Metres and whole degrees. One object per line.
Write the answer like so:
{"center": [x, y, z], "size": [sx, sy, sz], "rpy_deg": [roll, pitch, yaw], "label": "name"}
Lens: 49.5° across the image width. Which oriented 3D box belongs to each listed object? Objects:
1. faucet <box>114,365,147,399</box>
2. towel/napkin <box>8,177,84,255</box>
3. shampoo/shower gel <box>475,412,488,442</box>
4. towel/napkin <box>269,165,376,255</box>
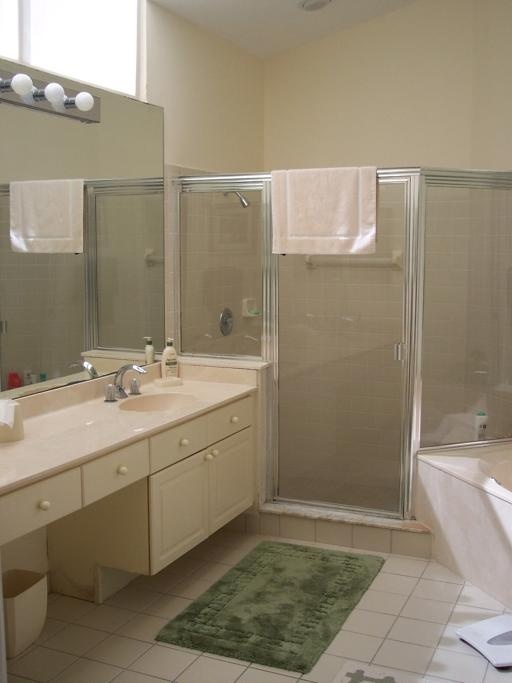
{"center": [-0.560, 0.170, 2.404], "size": [0.180, 0.163, 0.136], "rpy_deg": [-3, -1, 30], "label": "faucet"}
{"center": [-0.782, -0.463, 2.025], "size": [0.026, 0.290, 0.337], "rpy_deg": [4, 7, 20], "label": "towel/napkin"}
{"center": [1.103, 0.411, 2.719], "size": [0.083, 0.149, 0.027], "rpy_deg": [-1, 0, -30], "label": "shampoo/shower gel"}
{"center": [0.308, -0.587, 2.480], "size": [0.413, 0.301, 0.030], "rpy_deg": [2, 7, 21], "label": "towel/napkin"}
